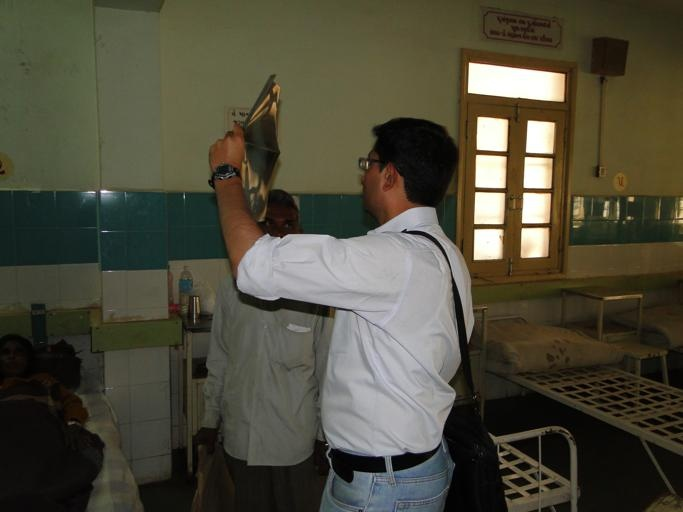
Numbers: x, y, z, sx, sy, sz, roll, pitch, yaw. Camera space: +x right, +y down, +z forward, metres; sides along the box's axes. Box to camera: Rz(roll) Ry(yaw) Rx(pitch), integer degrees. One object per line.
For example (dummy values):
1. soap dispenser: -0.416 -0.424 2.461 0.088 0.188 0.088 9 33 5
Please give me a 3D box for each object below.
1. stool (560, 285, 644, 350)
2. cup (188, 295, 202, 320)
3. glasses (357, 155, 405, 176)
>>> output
1. stool: 2.545 0.541 5.528 0.616 0.631 0.577 -3 6 -38
2. cup: -1.100 0.388 4.259 0.142 0.255 0.147 0 -3 0
3. glasses: 0.146 -0.377 2.295 0.099 0.032 0.099 15 4 -27
